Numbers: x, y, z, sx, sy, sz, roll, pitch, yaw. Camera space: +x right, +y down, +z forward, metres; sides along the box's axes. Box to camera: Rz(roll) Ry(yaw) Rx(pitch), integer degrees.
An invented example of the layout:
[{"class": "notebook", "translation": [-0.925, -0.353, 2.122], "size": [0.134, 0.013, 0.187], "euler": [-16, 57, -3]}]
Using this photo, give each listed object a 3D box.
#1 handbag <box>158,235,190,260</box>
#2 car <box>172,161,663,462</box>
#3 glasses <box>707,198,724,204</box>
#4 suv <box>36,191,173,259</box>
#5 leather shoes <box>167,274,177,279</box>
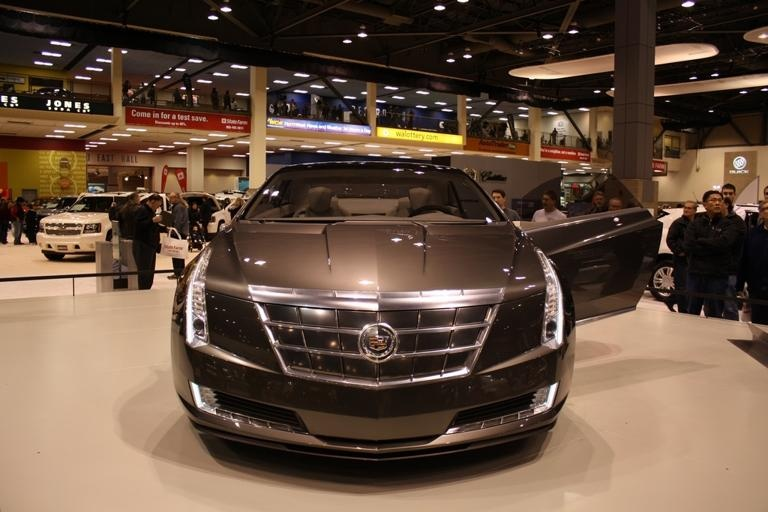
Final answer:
[{"class": "handbag", "translation": [-3.841, -0.182, 9.019], "size": [0.531, 0.465, 0.181], "euler": [8, 27, 6]}, {"class": "car", "translation": [-0.026, 0.108, 3.812], "size": [2.619, 1.685, 2.432], "euler": [1, 9, 4]}, {"class": "glasses", "translation": [4.393, -0.727, 6.611], "size": [0.113, 0.073, 0.138], "euler": [4, 1, 10]}, {"class": "suv", "translation": [-8.495, -0.835, 14.704], "size": [2.357, 1.856, 4.413], "euler": [1, 5, 14]}, {"class": "leather shoes", "translation": [-4.533, 0.428, 10.551], "size": [0.174, 0.119, 0.292], "euler": [1, -3, -16]}]
